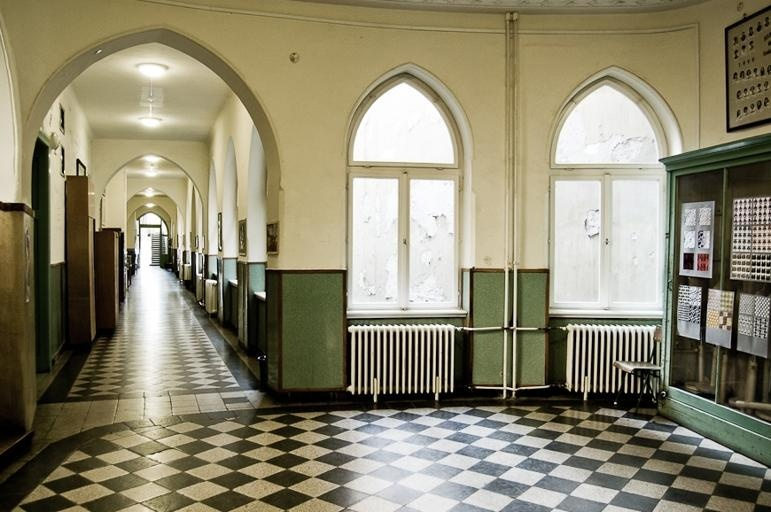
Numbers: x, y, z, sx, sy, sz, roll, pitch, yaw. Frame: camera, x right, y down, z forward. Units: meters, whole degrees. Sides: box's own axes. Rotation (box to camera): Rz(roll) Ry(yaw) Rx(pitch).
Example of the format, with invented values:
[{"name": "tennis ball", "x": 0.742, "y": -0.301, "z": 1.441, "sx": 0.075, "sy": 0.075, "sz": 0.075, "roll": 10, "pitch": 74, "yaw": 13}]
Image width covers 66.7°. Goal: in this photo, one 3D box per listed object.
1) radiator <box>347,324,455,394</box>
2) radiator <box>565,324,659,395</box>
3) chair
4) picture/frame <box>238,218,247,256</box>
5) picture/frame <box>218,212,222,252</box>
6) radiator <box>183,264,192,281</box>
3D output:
[{"name": "radiator", "x": 0.211, "y": 1.518, "z": 8.404, "sx": 1.543, "sy": 1.081, "sz": 0.390, "roll": -1, "pitch": 8, "yaw": -4}, {"name": "radiator", "x": 3.254, "y": 1.496, "z": 8.467, "sx": 1.189, "sy": 1.071, "sz": 0.299, "roll": -2, "pitch": 7, "yaw": 32}, {"name": "chair", "x": 3.551, "y": 1.536, "z": 8.120, "sx": 0.655, "sy": 1.038, "sz": 0.659, "roll": -3, "pitch": -4, "yaw": 17}, {"name": "picture/frame", "x": -2.970, "y": -0.403, "z": 12.107, "sx": 0.078, "sy": 0.811, "sz": 0.793, "roll": 1, "pitch": 0, "yaw": -24}, {"name": "picture/frame", "x": -4.166, "y": -0.604, "z": 14.627, "sx": 0.039, "sy": 0.982, "sz": 0.954, "roll": -1, "pitch": -2, "yaw": -19}, {"name": "radiator", "x": -8.509, "y": 0.704, "z": 25.013, "sx": 0.409, "sy": 0.755, "sz": 0.789, "roll": 0, "pitch": -1, "yaw": -16}]
